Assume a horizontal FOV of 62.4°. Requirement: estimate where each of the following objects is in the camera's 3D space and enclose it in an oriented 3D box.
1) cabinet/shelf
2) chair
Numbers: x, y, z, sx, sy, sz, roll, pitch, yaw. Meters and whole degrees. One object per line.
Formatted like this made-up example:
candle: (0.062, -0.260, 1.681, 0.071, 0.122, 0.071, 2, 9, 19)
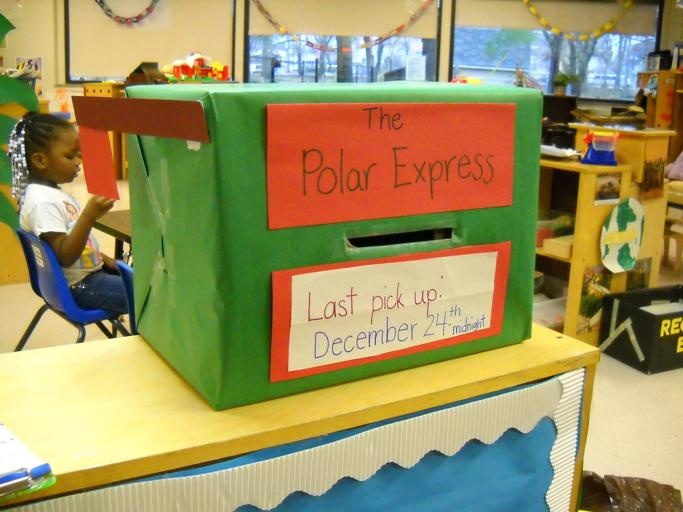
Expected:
cabinet/shelf: (1.253, -0.114, 2.808, 0.615, 1.023, 0.706, 10, 20, 30)
chair: (-1.014, 0.136, 2.125, 0.419, 0.478, 0.310, -2, 17, -7)
